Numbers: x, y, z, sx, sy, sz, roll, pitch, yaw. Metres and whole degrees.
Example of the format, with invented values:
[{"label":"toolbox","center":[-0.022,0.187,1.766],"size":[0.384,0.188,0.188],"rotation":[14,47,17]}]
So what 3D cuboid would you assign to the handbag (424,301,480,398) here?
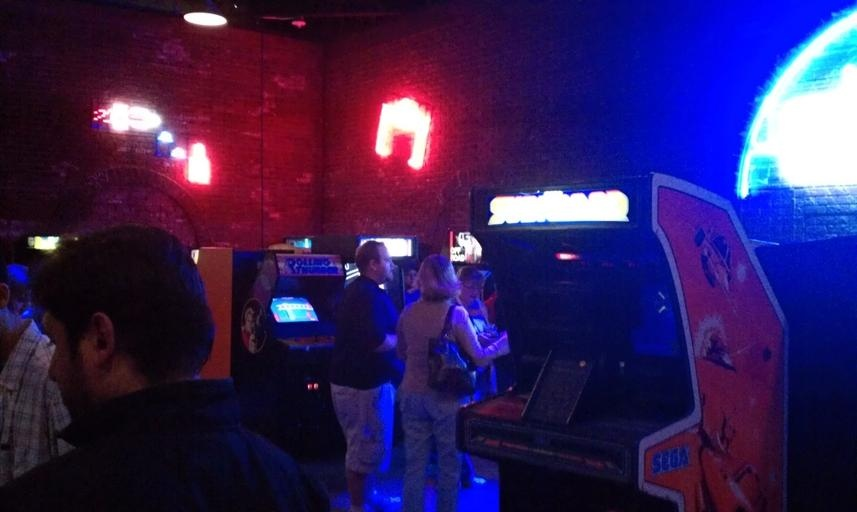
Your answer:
[{"label":"handbag","center":[0.146,0.673,4.759],"size":[0.222,0.701,0.553],"rotation":[-20,-32,35]}]
